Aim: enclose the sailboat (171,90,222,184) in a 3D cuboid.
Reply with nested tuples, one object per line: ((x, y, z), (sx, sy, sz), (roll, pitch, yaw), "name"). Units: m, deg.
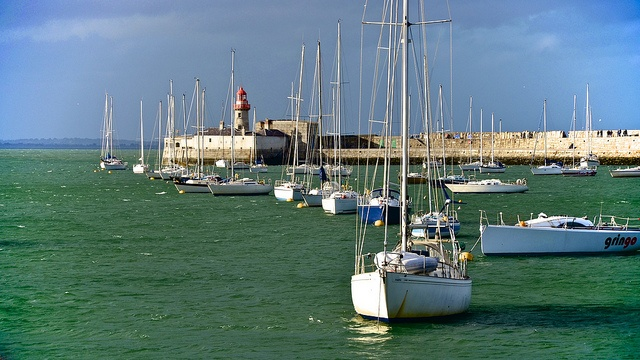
((-11.448, -3.348, 75.902), (1.993, 9.774, 5.659), (-16, -12, 37), "sailboat")

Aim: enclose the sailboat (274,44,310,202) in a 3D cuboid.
((-1.844, -4.607, 70.038), (2.520, 13.603, 6.669), (7, -6, -5), "sailboat")

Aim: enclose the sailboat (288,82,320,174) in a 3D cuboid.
((-1.851, -6.166, 99.799), (2.527, 11.071, 10.015), (-5, -4, 7), "sailboat")

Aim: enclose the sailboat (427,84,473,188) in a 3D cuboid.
((9.242, -3.607, 62.688), (3.979, 7.218, 3.171), (-3, -4, -22), "sailboat")
